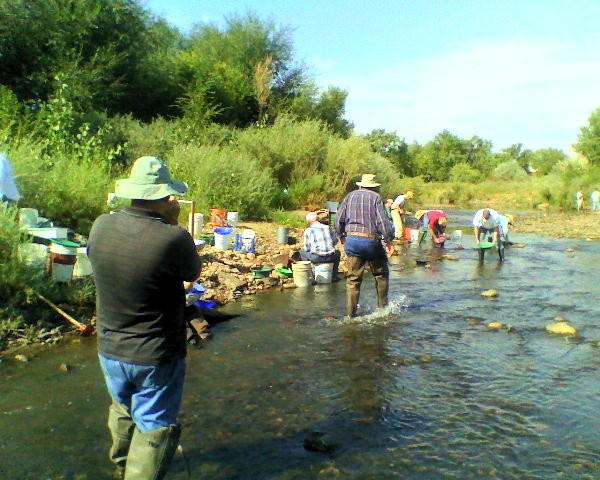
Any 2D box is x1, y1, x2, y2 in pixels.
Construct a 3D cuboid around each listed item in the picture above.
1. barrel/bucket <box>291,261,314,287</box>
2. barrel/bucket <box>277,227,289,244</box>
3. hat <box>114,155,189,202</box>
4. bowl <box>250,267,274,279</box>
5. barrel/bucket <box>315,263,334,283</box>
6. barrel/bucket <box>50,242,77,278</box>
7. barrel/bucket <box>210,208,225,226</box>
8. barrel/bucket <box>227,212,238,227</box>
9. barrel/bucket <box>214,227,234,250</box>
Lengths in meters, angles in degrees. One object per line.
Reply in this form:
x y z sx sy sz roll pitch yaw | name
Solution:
0.056 0.771 11.593 0.516 0.499 0.516 -1 -2 0 | barrel/bucket
-0.464 -0.129 14.654 0.355 0.516 0.359 1 10 0 | barrel/bucket
-1.245 -0.523 4.378 0.446 0.201 0.466 1 11 -5 | hat
-0.896 0.742 11.641 0.408 0.209 0.450 0 10 -3 | bowl
0.535 0.759 11.982 0.432 0.476 0.441 -1 -1 0 | barrel/bucket
-4.165 0.360 9.001 0.458 0.701 0.355 -2 11 -13 | barrel/bucket
-2.507 -0.710 15.597 0.443 0.423 0.488 -1 -5 3 | barrel/bucket
-1.920 -0.634 15.239 0.400 0.452 0.393 0 -3 0 | barrel/bucket
-1.991 -0.023 13.214 0.465 0.538 0.716 2 10 5 | barrel/bucket
